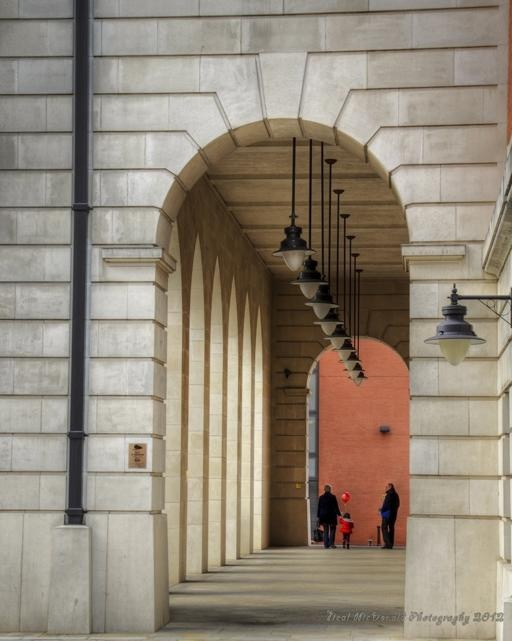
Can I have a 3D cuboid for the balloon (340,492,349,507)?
[{"bbox_3d":[2.030,4.041,38.142,0.099,0.384,0.242,-4,2,-44],"label":"balloon"}]
